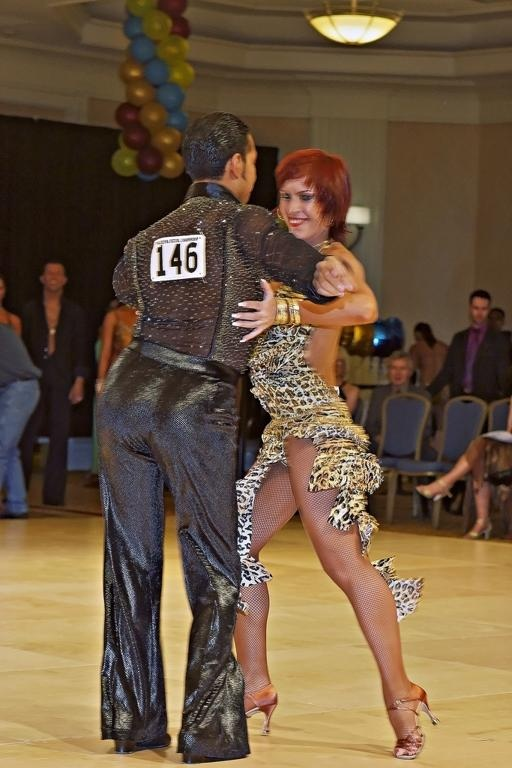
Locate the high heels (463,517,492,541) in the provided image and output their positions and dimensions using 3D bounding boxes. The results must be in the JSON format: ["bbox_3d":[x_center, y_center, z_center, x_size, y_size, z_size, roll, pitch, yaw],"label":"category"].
[{"bbox_3d":[1.772,1.176,5.684,0.296,0.138,0.100,2,-7,-44],"label":"high heels"}]

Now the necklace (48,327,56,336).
[{"bbox_3d":[-1.745,-0.448,6.126,0.091,0.074,0.020,4,1,-18],"label":"necklace"}]

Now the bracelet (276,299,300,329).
[{"bbox_3d":[0.060,-0.141,1.391,0.057,0.046,0.047,1,5,-2],"label":"bracelet"}]

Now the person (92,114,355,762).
[{"bbox_3d":[-0.080,0.116,1.258,0.418,1.184,0.260,4,6,1],"label":"person"}]

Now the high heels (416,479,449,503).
[{"bbox_3d":[1.408,0.859,5.758,0.391,0.119,0.144,7,-32,-33],"label":"high heels"}]
